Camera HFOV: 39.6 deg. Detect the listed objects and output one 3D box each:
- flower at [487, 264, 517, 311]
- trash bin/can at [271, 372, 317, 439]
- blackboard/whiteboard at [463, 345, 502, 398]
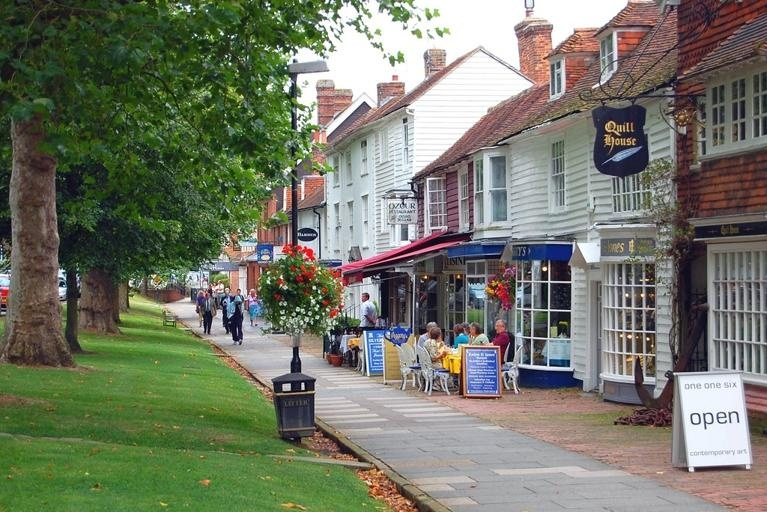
[{"bbox_3d":[3.384,0.825,30.107,0.603,1.317,1.313,4,-8,-10],"label":"flower"},{"bbox_3d":[-1.884,3.036,21.960,1.333,1.738,1.177,0,1,-13],"label":"trash bin/can"},{"bbox_3d":[2.477,2.917,26.894,0.818,1.385,0.808,0,-1,33],"label":"blackboard/whiteboard"}]
